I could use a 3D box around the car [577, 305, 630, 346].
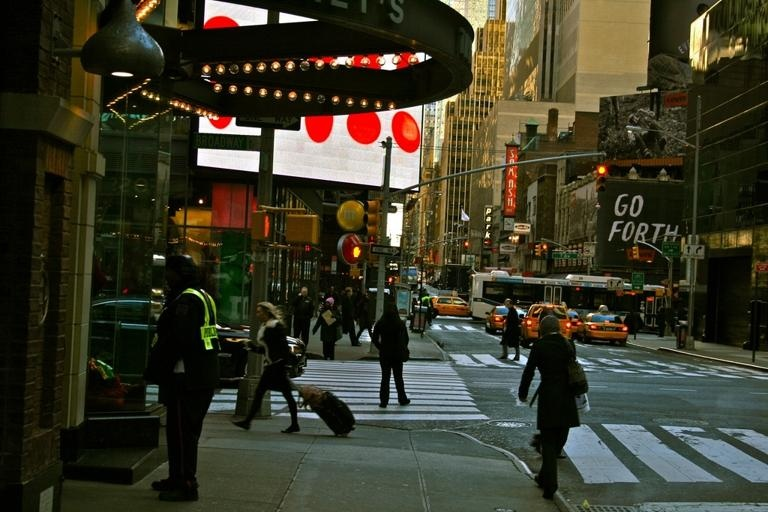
[{"bbox_3d":[10.745,3.594,44.553,2.031,1.461,1.469,1,-4,19],"label":"car"}]

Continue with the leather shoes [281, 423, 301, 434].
[{"bbox_3d":[-1.592,2.948,15.545,0.335,0.146,0.122,1,-4,4],"label":"leather shoes"}]

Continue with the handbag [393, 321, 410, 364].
[{"bbox_3d":[0.480,1.810,19.413,0.260,0.749,0.531,-2,1,-45],"label":"handbag"}]

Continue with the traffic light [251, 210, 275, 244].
[{"bbox_3d":[-2.196,-0.521,16.334,0.186,0.510,0.585,0,-4,14],"label":"traffic light"}]

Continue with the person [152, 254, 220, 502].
[{"bbox_3d":[-2.515,1.497,11.402,0.829,3.029,0.476,2,-3,-5],"label":"person"}]

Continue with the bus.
[{"bbox_3d":[11.645,3.645,60.016,15.336,4.743,4.707,0,4,-6],"label":"bus"}]

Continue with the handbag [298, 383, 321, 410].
[{"bbox_3d":[-1.294,2.423,15.575,0.349,0.362,0.435,3,-4,-27],"label":"handbag"}]

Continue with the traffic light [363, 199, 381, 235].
[{"bbox_3d":[-0.352,-1.056,25.103,0.384,1.045,0.854,2,-3,-3],"label":"traffic light"}]

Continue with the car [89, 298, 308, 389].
[{"bbox_3d":[-2.854,1.479,13.976,3.400,1.188,1.434,4,-3,-16],"label":"car"}]

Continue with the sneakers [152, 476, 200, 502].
[{"bbox_3d":[-2.591,2.890,11.312,0.441,0.177,0.255,12,-1,-10],"label":"sneakers"}]

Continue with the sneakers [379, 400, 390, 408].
[{"bbox_3d":[0.004,3.130,19.254,0.103,0.202,0.201,3,2,-28],"label":"sneakers"}]

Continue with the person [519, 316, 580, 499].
[{"bbox_3d":[2.408,2.148,13.327,0.849,2.563,1.049,1,-3,7],"label":"person"}]

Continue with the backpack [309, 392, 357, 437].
[{"bbox_3d":[-0.849,2.718,15.599,0.804,0.292,0.617,43,-22,-1],"label":"backpack"}]

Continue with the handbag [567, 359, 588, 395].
[{"bbox_3d":[2.828,1.771,13.259,0.255,0.507,0.335,0,-4,30],"label":"handbag"}]

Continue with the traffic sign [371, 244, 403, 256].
[{"bbox_3d":[0.016,-0.194,29.606,1.347,0.314,0.547,5,-5,-43],"label":"traffic sign"}]

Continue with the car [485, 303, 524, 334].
[{"bbox_3d":[5.833,3.187,46.121,1.325,0.987,2.938,0,2,2],"label":"car"}]

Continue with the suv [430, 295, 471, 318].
[{"bbox_3d":[4.713,3.651,65.239,2.819,1.445,2.261,2,-3,-8],"label":"suv"}]

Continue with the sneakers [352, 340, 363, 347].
[{"bbox_3d":[-1.060,3.267,34.094,0.416,0.303,0.148,-10,11,-41],"label":"sneakers"}]

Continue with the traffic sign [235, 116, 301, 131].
[{"bbox_3d":[-2.239,-2.525,17.411,1.186,0.269,0.397,2,-3,-8],"label":"traffic sign"}]

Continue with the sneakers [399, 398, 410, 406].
[{"bbox_3d":[0.421,3.155,19.754,0.165,0.115,0.161,0,-8,5],"label":"sneakers"}]
